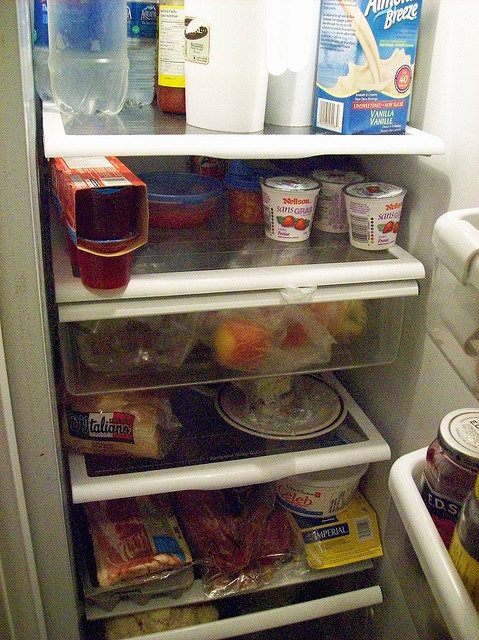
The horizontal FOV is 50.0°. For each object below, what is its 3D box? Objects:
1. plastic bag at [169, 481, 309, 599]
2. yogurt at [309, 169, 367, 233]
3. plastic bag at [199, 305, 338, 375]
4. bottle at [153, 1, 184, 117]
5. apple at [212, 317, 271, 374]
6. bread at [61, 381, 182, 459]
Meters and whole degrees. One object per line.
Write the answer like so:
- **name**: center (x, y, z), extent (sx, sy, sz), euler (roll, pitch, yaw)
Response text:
- **plastic bag**: center (-0.014, 0.455, 1.142), extent (0.296, 0.089, 0.345), euler (1, 24, -3)
- **yogurt**: center (0.181, -0.216, 0.967), extent (0.090, 0.130, 0.072), euler (23, 37, 36)
- **plastic bag**: center (0.051, 0.039, 0.903), extent (0.234, 0.138, 0.036), euler (-1, 27, -6)
- **bottle**: center (-0.114, -0.426, 0.845), extent (0.063, 0.166, 0.024), euler (26, 35, 38)
- **apple**: center (0.002, 0.052, 0.924), extent (0.102, 0.115, 0.094), euler (1, -7, 7)
- **bread**: center (-0.222, 0.189, 0.959), extent (0.193, 0.065, 0.151), euler (6, 42, -20)
